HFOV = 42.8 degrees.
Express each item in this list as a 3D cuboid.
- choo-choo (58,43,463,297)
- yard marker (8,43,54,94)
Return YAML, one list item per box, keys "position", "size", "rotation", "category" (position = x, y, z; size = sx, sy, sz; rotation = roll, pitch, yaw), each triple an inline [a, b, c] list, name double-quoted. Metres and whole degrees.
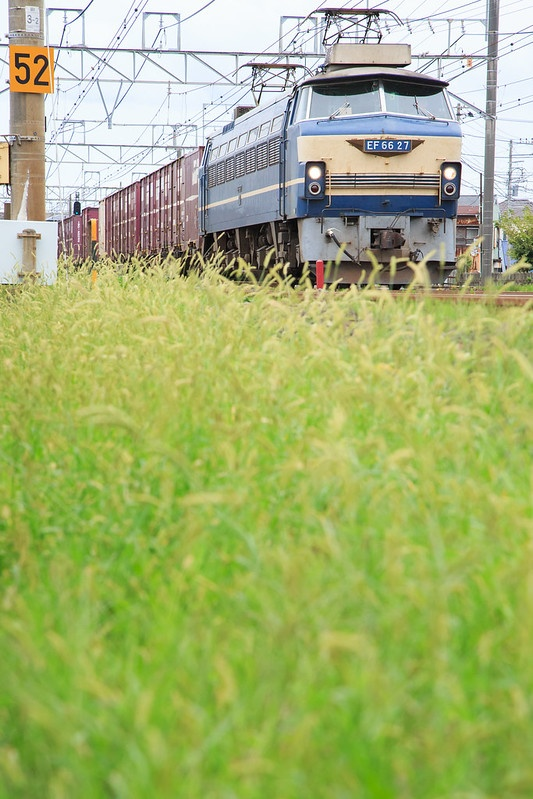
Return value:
- position: [-1.430, -5.675, 20.650]
  size: [2.798, 4.794, 18.342]
  rotation: [-2, 11, -23]
  category: "choo-choo"
- position: [-2.284, -3.193, 6.576]
  size: [0.408, 0.513, 0.353]
  rotation: [-3, 7, -22]
  category: "yard marker"
